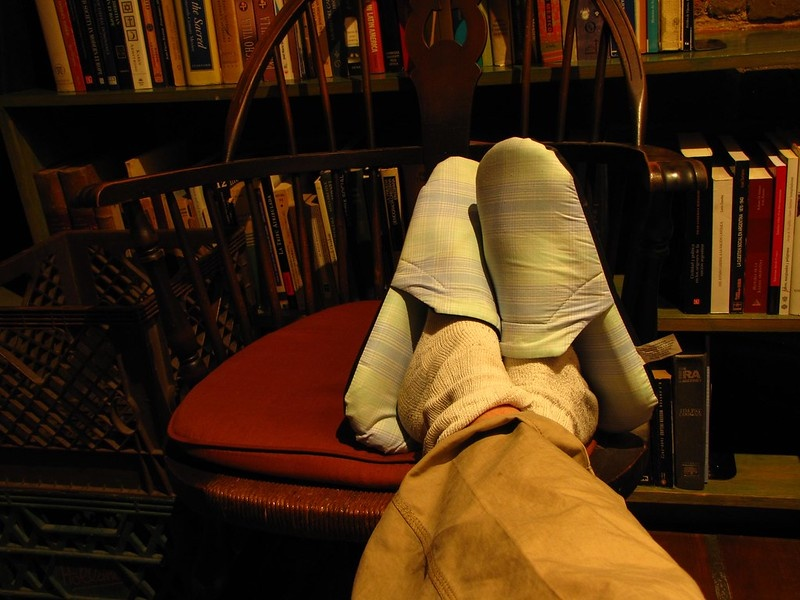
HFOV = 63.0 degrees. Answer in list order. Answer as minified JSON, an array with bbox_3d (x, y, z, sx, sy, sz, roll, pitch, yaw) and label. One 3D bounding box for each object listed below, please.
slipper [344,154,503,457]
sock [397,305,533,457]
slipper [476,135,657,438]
[{"bbox_3d":[0.067,-0.004,1.037,0.173,0.486,0.129,12,-9,22],"label":"slipper"},{"bbox_3d":[0.070,0.101,0.857,0.135,0.141,0.197,6,-8,-21],"label":"sock"},{"bbox_3d":[0.217,-0.034,0.977,0.162,0.494,0.174,-15,1,43],"label":"slipper"}]
